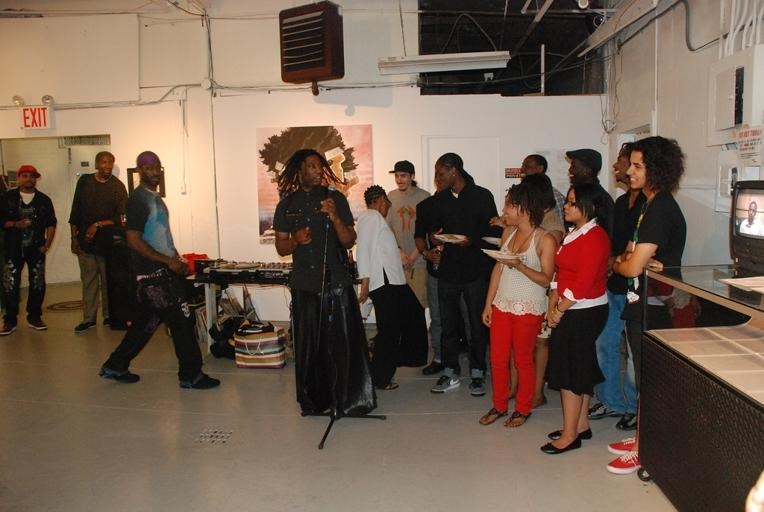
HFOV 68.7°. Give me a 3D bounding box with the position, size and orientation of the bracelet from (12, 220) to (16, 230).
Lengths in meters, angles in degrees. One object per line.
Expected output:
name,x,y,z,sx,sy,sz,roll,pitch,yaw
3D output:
bracelet,-5.074,-0.430,7.725,0.062,0.084,0.022,-2,10,-9

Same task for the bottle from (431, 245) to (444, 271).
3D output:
bottle,0.543,0.024,5.960,0.085,0.227,0.167,12,7,-10

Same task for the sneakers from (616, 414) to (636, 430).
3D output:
sneakers,2.249,1.538,5.160,0.235,0.106,0.085,-2,4,-5

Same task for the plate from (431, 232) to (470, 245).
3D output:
plate,0.680,-0.159,5.589,0.305,0.120,0.233,3,10,31

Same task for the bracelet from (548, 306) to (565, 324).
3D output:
bracelet,1.473,0.497,4.712,0.060,0.105,0.144,14,39,22

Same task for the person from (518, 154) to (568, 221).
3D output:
person,1.691,-0.797,5.971,0.473,0.590,0.796,2,14,-8

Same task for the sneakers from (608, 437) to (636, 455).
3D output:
sneakers,2.064,1.632,4.787,0.296,0.108,0.107,-2,8,14

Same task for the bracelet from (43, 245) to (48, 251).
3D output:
bracelet,-4.747,-0.112,7.913,0.065,0.022,0.062,-10,-23,13

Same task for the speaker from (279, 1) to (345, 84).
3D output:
speaker,-0.959,-2.874,7.487,0.821,0.959,0.254,0,9,13

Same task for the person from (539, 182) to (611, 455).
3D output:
person,1.639,0.549,4.758,0.598,2.291,0.436,-2,9,1

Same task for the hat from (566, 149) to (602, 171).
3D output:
hat,2.050,-0.982,5.629,0.304,0.149,0.227,25,13,7

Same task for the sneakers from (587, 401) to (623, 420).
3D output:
sneakers,2.090,1.487,5.363,0.370,0.146,0.130,2,2,0

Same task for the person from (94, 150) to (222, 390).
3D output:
person,-2.402,0.186,5.992,1.100,2.567,0.497,1,9,20

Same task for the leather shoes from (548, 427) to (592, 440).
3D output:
leather shoes,1.676,1.599,4.984,0.366,0.097,0.140,1,0,-2

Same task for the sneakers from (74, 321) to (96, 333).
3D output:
sneakers,-4.264,1.028,8.015,0.107,0.124,0.320,-1,-2,14

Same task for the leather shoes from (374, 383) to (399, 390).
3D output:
leather shoes,0.054,1.387,5.966,0.254,0.061,0.093,-1,11,2

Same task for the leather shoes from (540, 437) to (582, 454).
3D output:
leather shoes,1.538,1.658,4.875,0.359,0.135,0.132,-2,3,-5

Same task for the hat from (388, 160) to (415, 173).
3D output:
hat,0.269,-1.073,6.773,0.274,0.150,0.191,-1,6,-22

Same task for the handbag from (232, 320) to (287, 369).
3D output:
handbag,-1.435,1.091,6.710,0.599,0.506,0.374,-4,7,15

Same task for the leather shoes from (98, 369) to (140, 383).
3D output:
leather shoes,-2.913,1.323,6.191,0.369,0.142,0.195,3,4,-18

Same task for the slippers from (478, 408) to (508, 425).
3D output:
slippers,1.028,1.527,5.264,0.320,0.125,0.113,-11,8,-24

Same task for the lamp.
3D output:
lamp,0.813,-3.130,7.914,2.277,0.377,0.451,-1,-26,6

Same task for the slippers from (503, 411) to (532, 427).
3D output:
slippers,1.256,1.531,5.231,0.221,0.087,0.126,-7,7,-27

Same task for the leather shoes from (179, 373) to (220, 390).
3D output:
leather shoes,-1.993,1.392,6.090,0.341,0.141,0.185,-1,2,-8

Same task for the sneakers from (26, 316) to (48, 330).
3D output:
sneakers,-4.981,0.979,8.066,0.367,0.157,0.135,3,2,36

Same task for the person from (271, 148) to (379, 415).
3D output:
person,-0.546,0.296,5.283,0.900,2.581,0.528,-2,9,4
